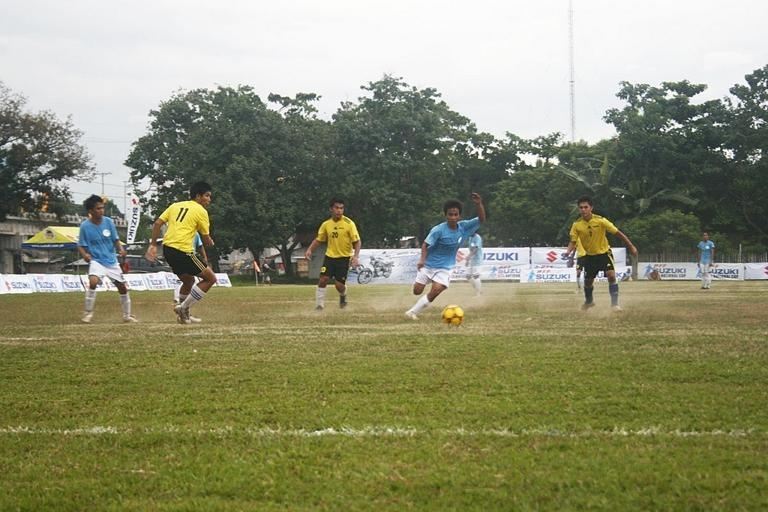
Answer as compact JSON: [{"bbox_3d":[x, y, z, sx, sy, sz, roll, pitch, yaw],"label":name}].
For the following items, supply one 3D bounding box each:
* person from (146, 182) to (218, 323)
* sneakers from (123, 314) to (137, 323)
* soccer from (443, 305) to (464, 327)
[{"bbox_3d":[-3.249,-0.032,14.854,1.058,2.318,0.970,-1,0,-41],"label":"person"},{"bbox_3d":[-4.386,1.100,15.729,0.204,0.060,0.135,2,4,-10],"label":"sneakers"},{"bbox_3d":[1.119,1.010,14.909,0.340,0.300,0.319,-5,5,2],"label":"soccer"}]
